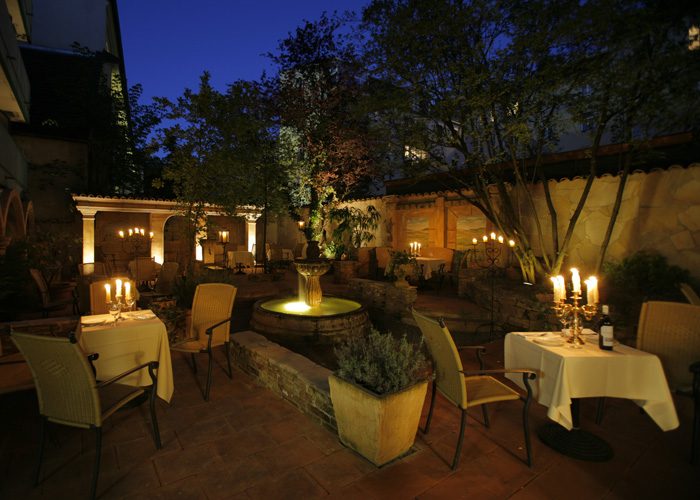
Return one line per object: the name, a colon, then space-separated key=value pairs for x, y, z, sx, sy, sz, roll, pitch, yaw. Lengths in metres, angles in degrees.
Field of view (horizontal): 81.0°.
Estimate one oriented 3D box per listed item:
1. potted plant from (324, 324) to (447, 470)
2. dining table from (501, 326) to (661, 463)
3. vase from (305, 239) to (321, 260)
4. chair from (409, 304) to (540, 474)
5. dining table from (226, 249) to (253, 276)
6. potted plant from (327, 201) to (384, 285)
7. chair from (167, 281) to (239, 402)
potted plant: x=0.356 y=1.752 z=4.911 sx=1.170 sy=1.455 sz=0.662 roll=-4 pitch=3 yaw=-3
dining table: x=2.920 y=1.855 z=5.655 sx=1.703 sy=1.342 sz=2.076 roll=4 pitch=2 yaw=0
vase: x=-0.860 y=0.029 z=9.293 sx=0.449 sy=0.480 sz=0.405 roll=0 pitch=0 yaw=-15
chair: x=1.615 y=1.625 z=5.275 sx=1.335 sy=1.977 sz=1.238 roll=0 pitch=2 yaw=-20
dining table: x=-4.713 y=0.543 z=17.397 sx=1.067 sy=0.685 sz=1.049 roll=-3 pitch=-5 yaw=34
potted plant: x=0.190 y=-0.546 z=16.998 sx=2.328 sy=3.040 sz=3.928 roll=-4 pitch=2 yaw=4
chair: x=-2.428 y=1.388 z=6.710 sx=1.012 sy=1.589 sz=1.001 roll=1 pitch=1 yaw=25
